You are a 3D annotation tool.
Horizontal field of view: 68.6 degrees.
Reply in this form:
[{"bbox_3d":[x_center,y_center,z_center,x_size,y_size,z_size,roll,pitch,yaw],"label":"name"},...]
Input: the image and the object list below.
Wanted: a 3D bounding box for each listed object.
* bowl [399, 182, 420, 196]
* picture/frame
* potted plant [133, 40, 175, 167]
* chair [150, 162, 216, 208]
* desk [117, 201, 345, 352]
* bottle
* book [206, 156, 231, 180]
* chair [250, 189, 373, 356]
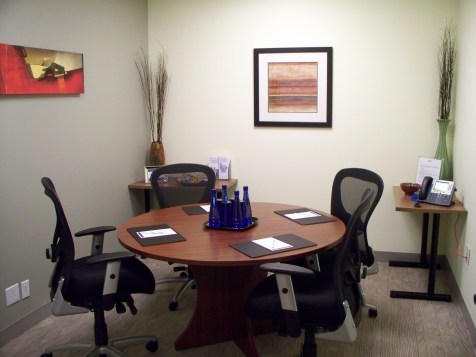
[{"bbox_3d":[1.783,0.095,3.594,0.135,0.085,0.140,-2,10,0],"label":"bowl"},{"bbox_3d":[0.675,-1.100,4.073,0.897,0.982,0.062,0,3,7],"label":"picture/frame"},{"bbox_3d":[-1.032,-0.878,4.290,0.351,1.391,0.440,0,14,2],"label":"potted plant"},{"bbox_3d":[-0.538,0.024,3.590,0.510,0.712,0.462,-2,6,-9],"label":"chair"},{"bbox_3d":[-0.131,0.704,2.650,1.188,0.665,1.192,-2,4,-21],"label":"desk"},{"bbox_3d":[-0.053,0.201,2.652,0.324,0.337,0.296,0,1,2],"label":"bottle"},{"bbox_3d":[-0.219,-0.119,4.106,0.285,0.309,0.105,2,8,14],"label":"book"},{"bbox_3d":[0.489,0.534,2.673,0.930,1.440,1.038,2,1,19],"label":"chair"}]
